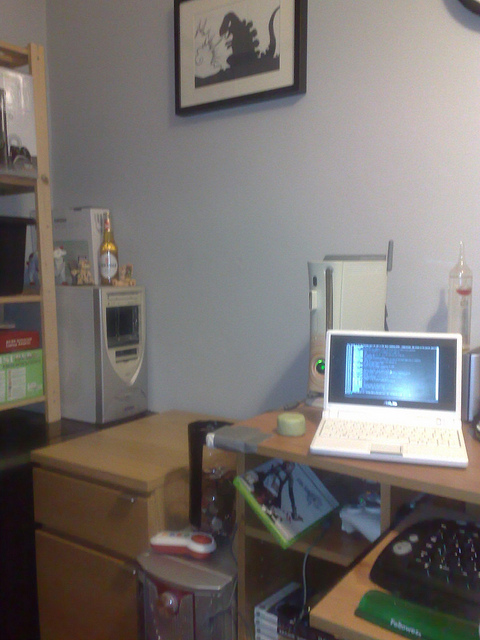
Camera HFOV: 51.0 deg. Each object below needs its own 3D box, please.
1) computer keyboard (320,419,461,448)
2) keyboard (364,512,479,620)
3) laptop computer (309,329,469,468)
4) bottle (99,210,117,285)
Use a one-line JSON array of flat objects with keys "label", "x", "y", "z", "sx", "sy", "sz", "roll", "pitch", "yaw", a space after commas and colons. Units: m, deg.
[{"label": "computer keyboard", "x": 0.273, "y": 0.204, "z": 0.921, "sx": 0.241, "sy": 0.011, "sz": 0.107, "roll": 2, "pitch": 8, "yaw": 18}, {"label": "keyboard", "x": 0.310, "y": 0.381, "z": 0.813, "sx": 0.157, "sy": 0.045, "sz": 0.209, "roll": 5, "pitch": 9, "yaw": 35}, {"label": "laptop computer", "x": 0.284, "y": 0.116, "z": 0.945, "sx": 0.313, "sy": 0.226, "sz": 0.375, "roll": -1, "pitch": 1, "yaw": -18}, {"label": "bottle", "x": -0.515, "y": -0.263, "z": 1.960, "sx": 0.066, "sy": 0.246, "sz": 0.073, "roll": -2, "pitch": 6, "yaw": -20}]
